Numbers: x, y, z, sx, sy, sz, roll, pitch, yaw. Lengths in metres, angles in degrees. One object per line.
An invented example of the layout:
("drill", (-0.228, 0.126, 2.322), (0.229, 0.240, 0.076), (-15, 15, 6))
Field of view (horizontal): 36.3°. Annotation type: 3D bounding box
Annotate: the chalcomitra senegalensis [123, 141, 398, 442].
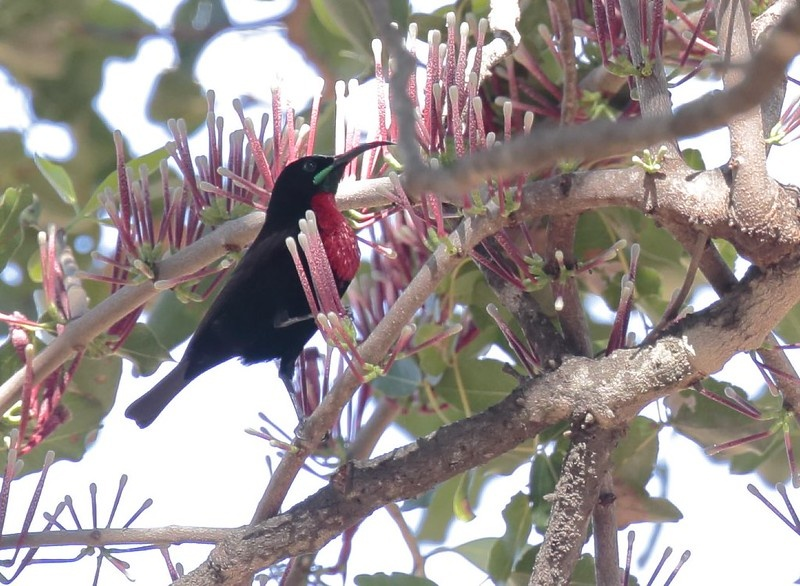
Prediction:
("chalcomitra senegalensis", (-0.389, -0.019, 3.547), (0.978, 0.311, 0.695), (-12, -95, 19))
